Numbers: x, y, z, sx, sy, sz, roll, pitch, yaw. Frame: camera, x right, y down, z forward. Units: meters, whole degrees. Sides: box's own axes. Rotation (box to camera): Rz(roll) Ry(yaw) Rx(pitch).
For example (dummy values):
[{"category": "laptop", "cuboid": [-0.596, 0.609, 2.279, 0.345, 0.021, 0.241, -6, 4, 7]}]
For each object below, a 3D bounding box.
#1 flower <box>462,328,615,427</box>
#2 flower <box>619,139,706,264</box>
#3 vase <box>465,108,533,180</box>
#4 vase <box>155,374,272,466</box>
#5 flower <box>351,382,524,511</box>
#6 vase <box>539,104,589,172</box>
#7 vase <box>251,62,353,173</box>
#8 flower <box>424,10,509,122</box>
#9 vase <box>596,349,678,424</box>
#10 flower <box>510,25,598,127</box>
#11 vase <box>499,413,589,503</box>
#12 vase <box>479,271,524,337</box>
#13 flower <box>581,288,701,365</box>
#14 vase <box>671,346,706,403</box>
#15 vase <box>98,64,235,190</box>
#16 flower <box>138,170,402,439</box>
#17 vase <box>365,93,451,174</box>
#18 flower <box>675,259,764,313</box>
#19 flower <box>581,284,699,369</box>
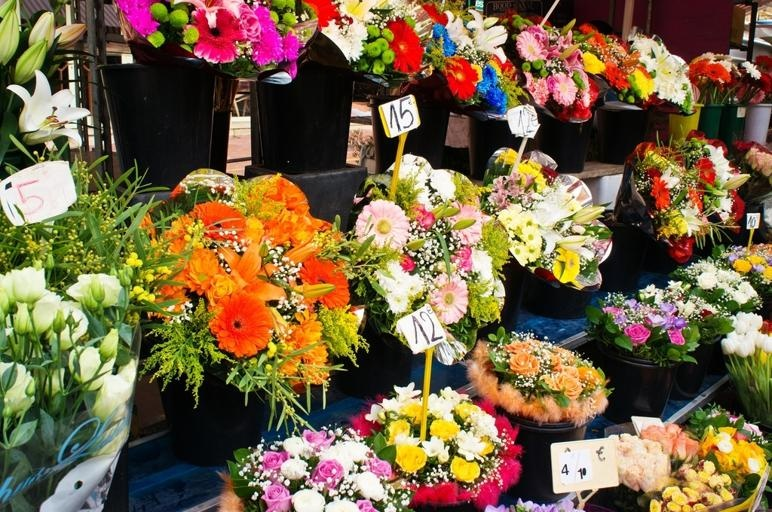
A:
[{"category": "flower", "cuboid": [0.531, 0.422, 1.838, 0.423, 0.162, 0.413, 0, 19, -14]}, {"category": "flower", "cuboid": [1.382, -0.263, 2.707, 0.490, 0.519, 0.350, -14, 26, -32]}, {"category": "vase", "cuboid": [0.442, -0.481, 2.434, 0.265, 0.302, 0.280, -3, 26, -23]}, {"category": "vase", "cuboid": [-0.486, 0.411, 1.544, 0.258, 0.214, 0.275, 4, 1, -42]}, {"category": "flower", "cuboid": [0.184, 0.530, 1.539, 0.400, 0.176, 0.380, 19, 22, 5]}, {"category": "vase", "cuboid": [0.792, -0.579, 2.694, 0.251, 0.318, 0.266, -4, 24, -14]}, {"category": "vase", "cuboid": [-0.283, -0.493, 1.947, 0.343, 0.387, 0.363, 1, 7, 17]}, {"category": "flower", "cuboid": [0.329, -0.731, 2.118, 0.297, 0.366, 0.393, 6, 23, 12]}, {"category": "vase", "cuboid": [0.955, 0.499, 2.231, 0.280, 0.235, 0.303, -5, 16, -41]}, {"category": "flower", "cuboid": [0.712, -0.778, 2.404, 0.354, 0.392, 0.216, -12, 25, -29]}, {"category": "vase", "cuboid": [0.485, 0.608, 1.776, 0.261, 0.204, 0.255, 0, -1, 41]}, {"category": "vase", "cuboid": [0.439, 0.187, 2.231, 0.211, 0.193, 0.242, 1, 1, 4]}, {"category": "flower", "cuboid": [1.037, 0.327, 2.221, 0.351, 0.175, 0.417, -5, 14, -9]}, {"category": "vase", "cuboid": [1.259, 0.523, 2.336, 0.119, 0.120, 0.117, 4, -30, -22]}, {"category": "vase", "cuboid": [-0.641, -0.388, 1.728, 0.403, 0.309, 0.383, -1, 12, -20]}, {"category": "flower", "cuboid": [-0.261, 0.134, 1.538, 0.510, 0.482, 0.598, -17, 17, -15]}, {"category": "vase", "cuboid": [0.081, -0.508, 2.263, 0.302, 0.302, 0.296, -6, 19, -24]}, {"category": "flower", "cuboid": [1.621, 0.174, 2.620, 0.319, 0.161, 0.290, -23, 17, -26]}, {"category": "flower", "cuboid": [1.017, 0.325, 2.200, 0.475, 0.186, 0.441, 7, 18, 25]}]
